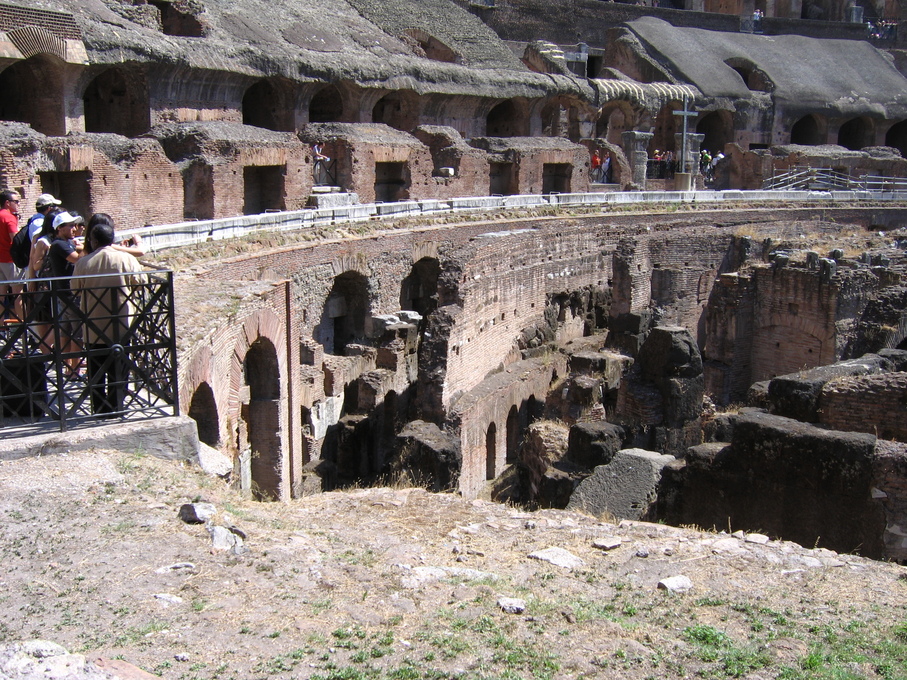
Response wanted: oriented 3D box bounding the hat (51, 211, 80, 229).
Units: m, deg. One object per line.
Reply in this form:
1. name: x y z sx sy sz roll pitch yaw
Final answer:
1. hat: -4.341 -1.363 12.481 0.254 0.141 0.202 -16 11 -9

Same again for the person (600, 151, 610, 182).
1. person: 5.960 -6.881 43.776 0.394 1.127 0.657 5 11 8
